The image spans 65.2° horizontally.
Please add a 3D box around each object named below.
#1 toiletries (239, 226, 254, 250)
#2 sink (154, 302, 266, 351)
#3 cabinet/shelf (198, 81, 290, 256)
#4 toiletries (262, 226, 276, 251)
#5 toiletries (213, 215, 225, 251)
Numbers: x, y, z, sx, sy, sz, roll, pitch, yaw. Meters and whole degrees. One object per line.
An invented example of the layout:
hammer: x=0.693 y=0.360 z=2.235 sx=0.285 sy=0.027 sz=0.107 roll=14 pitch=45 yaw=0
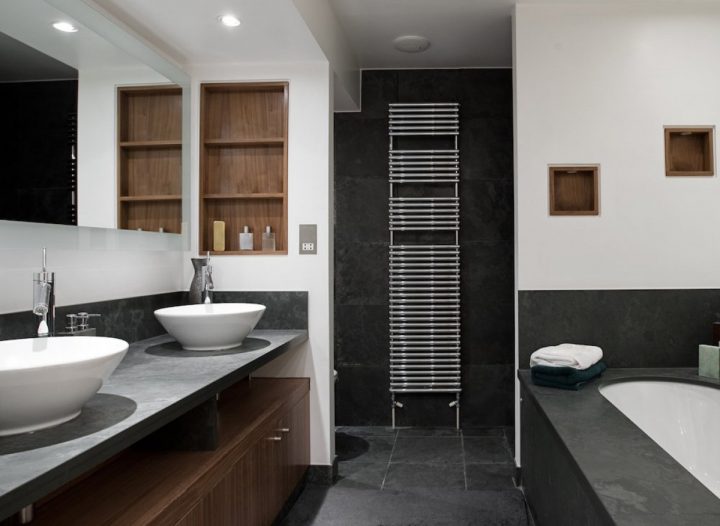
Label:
toiletries: x=-0.748 y=-0.172 z=3.697 sx=0.097 sy=0.160 sz=0.104 roll=-1 pitch=5 yaw=-12
sink: x=-0.796 y=0.334 z=3.049 sx=0.541 sy=0.217 sz=0.548 roll=-1 pitch=5 yaw=-11
cabinet/shelf: x=-0.741 y=-0.619 z=3.673 sx=0.587 sy=1.101 sz=0.198 roll=0 pitch=4 yaw=6
toiletries: x=-0.592 y=-0.165 z=3.667 sx=0.087 sy=0.169 sz=0.153 roll=-1 pitch=5 yaw=-10
toiletries: x=-0.929 y=-0.179 z=3.685 sx=0.079 sy=0.199 sz=0.092 roll=-1 pitch=4 yaw=-2
